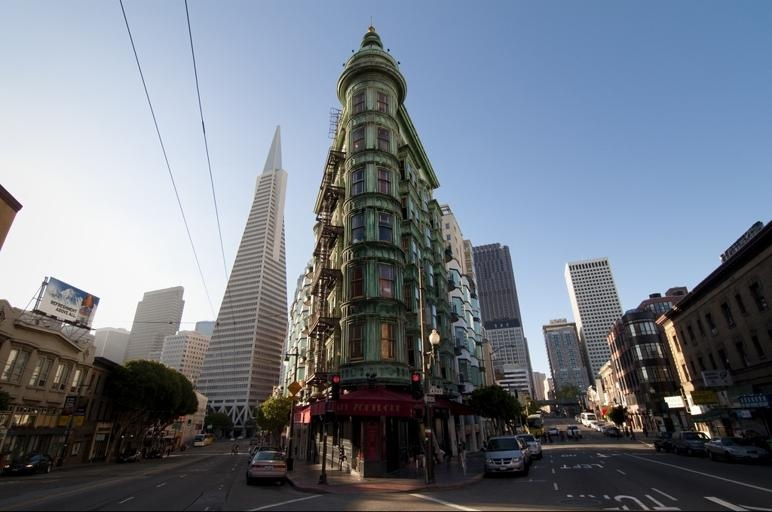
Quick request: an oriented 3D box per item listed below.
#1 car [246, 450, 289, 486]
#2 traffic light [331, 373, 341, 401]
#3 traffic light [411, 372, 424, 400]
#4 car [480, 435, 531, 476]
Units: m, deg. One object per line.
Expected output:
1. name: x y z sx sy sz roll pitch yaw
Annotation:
1. car: -8.279 14.780 27.976 2.517 2.103 1.988 7 -28 -18
2. traffic light: -3.304 8.628 26.351 0.404 1.487 0.958 5 -27 -14
3. traffic light: 2.039 8.336 26.011 0.614 1.704 1.295 -5 -26 5
4. car: 8.697 14.412 28.933 3.341 2.536 2.281 -2 -26 0
